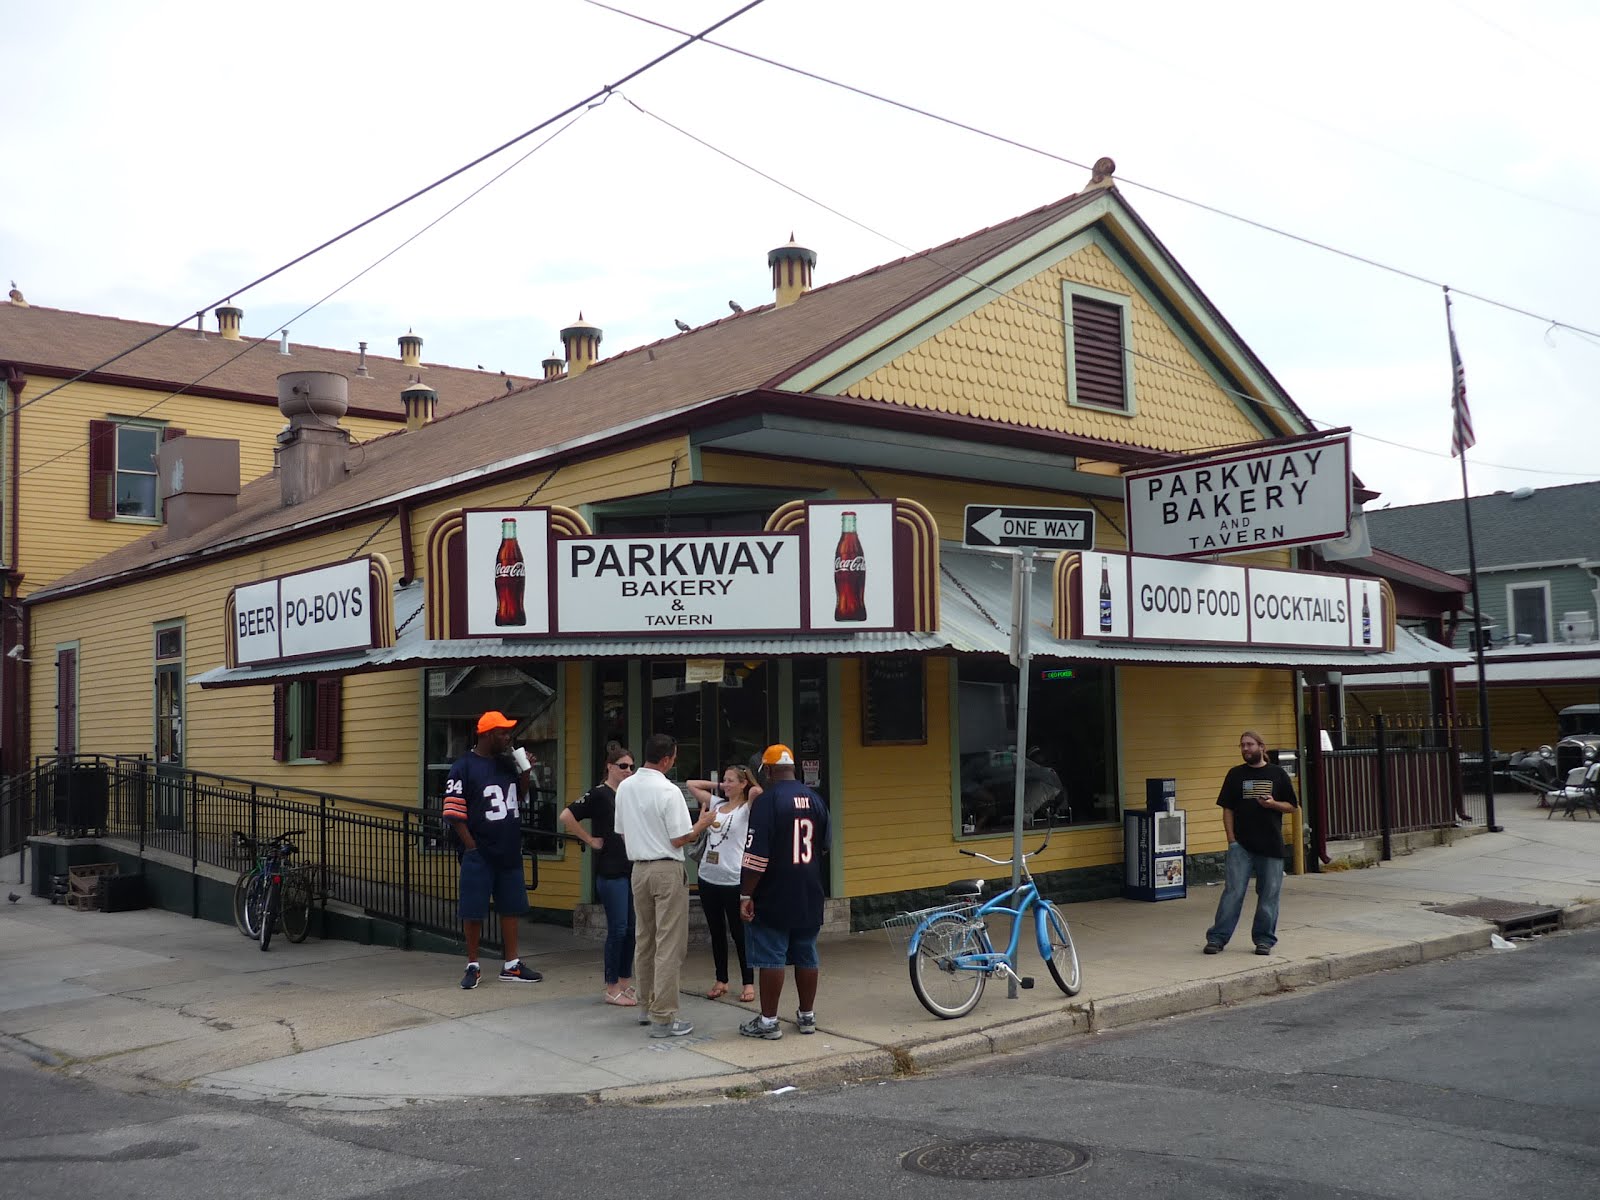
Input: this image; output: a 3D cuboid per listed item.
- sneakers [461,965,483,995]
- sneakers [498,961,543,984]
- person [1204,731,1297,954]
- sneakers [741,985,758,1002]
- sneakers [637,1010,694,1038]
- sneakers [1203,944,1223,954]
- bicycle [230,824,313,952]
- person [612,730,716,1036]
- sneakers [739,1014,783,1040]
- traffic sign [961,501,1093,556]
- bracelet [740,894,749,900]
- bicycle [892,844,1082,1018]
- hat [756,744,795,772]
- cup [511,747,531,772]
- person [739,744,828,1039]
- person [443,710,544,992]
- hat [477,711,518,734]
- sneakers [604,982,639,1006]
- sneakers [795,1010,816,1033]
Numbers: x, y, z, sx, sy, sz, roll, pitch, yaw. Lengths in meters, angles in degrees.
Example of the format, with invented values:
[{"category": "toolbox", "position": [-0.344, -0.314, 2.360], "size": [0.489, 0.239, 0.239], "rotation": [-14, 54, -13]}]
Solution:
[{"category": "sneakers", "position": [-3.040, 3.487, 16.267], "size": [0.162, 0.178, 0.453], "rotation": [0, -11, 0]}, {"category": "sneakers", "position": [-2.607, 3.442, 16.401], "size": [0.397, 0.164, 0.177], "rotation": [-1, -3, 19]}, {"category": "person", "position": [4.465, 2.382, 17.500], "size": [0.788, 2.089, 1.238], "rotation": [0, 3, 25]}, {"category": "sneakers", "position": [-0.463, 3.493, 15.753], "size": [0.103, 0.091, 0.280], "rotation": [-2, -8, 4]}, {"category": "sneakers", "position": [-1.116, 3.483, 14.556], "size": [0.455, 0.204, 0.164], "rotation": [2, -3, -15]}, {"category": "sneakers", "position": [4.019, 3.385, 17.195], "size": [0.073, 0.089, 0.217], "rotation": [-8, -21, 28]}, {"category": "bicycle", "position": [-5.942, 3.197, 19.802], "size": [0.832, 1.262, 1.943], "rotation": [-2, 2, -19]}, {"category": "person", "position": [-1.154, 2.358, 14.629], "size": [0.516, 2.427, 0.606], "rotation": [-2, 3, -24]}, {"category": "sneakers", "position": [-0.320, 3.489, 14.522], "size": [0.351, 0.159, 0.162], "rotation": [1, -2, 40]}, {"category": "traffic sign", "position": [2.060, -0.645, 15.781], "size": [1.279, 0.398, 0.367], "rotation": [-2, 2, -28]}, {"category": "bracelet", "position": [-0.456, 2.412, 14.370], "size": [0.059, 0.057, 0.061], "rotation": [6, -12, -25]}, {"category": "bicycle", "position": [1.758, 2.843, 15.421], "size": [2.252, 1.412, 0.934], "rotation": [0, -14, -39]}, {"category": "hat", "position": [-0.205, 1.306, 14.806], "size": [0.265, 0.199, 0.423], "rotation": [11, -9, -4]}, {"category": "cup", "position": [-2.656, 1.498, 16.736], "size": [0.182, 0.205, 0.230], "rotation": [0, -15, -11]}, {"category": "person", "position": [-0.150, 2.392, 14.558], "size": [0.561, 2.339, 0.754], "rotation": [1, 3, 39]}, {"category": "person", "position": [-2.916, 2.301, 16.542], "size": [0.867, 2.475, 0.743], "rotation": [-2, 3, -24]}, {"category": "hat", "position": [-2.842, 1.166, 16.728], "size": [0.432, 0.219, 0.325], "rotation": [-1, 2, -16]}, {"category": "sneakers", "position": [-1.573, 3.436, 15.492], "size": [0.262, 0.106, 0.156], "rotation": [-4, -4, 42]}, {"category": "sneakers", "position": [0.040, 3.478, 14.620], "size": [0.133, 0.140, 0.357], "rotation": [0, -13, -1]}]
